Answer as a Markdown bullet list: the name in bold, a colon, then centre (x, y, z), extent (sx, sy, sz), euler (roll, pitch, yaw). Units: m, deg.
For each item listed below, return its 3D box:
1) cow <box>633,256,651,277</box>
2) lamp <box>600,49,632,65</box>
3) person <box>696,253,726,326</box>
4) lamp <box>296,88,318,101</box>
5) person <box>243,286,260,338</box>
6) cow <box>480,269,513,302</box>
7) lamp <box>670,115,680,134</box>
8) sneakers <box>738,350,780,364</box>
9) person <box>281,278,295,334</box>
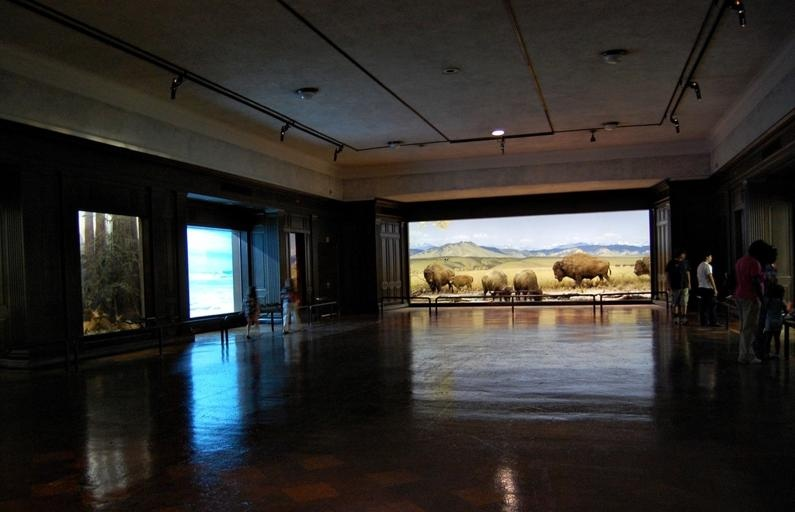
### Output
- **cow**: centre (9.190, 0.413, 18.725), extent (0.411, 0.703, 0.468), euler (3, 8, -12)
- **lamp**: centre (4.170, -3.768, 9.480), extent (0.518, 0.115, 0.661), euler (0, 2, 30)
- **person**: centre (7.822, 0.870, 12.527), extent (0.386, 1.749, 0.935), euler (0, 3, 32)
- **lamp**: centre (-1.944, -3.486, 10.708), extent (0.529, 0.111, 0.475), euler (-2, 2, -11)
- **person**: centre (-3.875, 1.469, 13.196), extent (0.357, 1.361, 1.435), euler (-3, 3, -17)
- **cow**: centre (3.988, 1.193, 20.111), extent (1.182, 1.163, 0.464), euler (-1, 3, 9)
- **lamp**: centre (7.451, -3.507, 13.330), extent (0.199, 0.467, 0.365), euler (1, 2, 5)
- **sneakers**: centre (6.203, 1.744, 8.545), extent (0.599, 0.223, 0.176), euler (-8, 2, -15)
- **person**: centre (-3.029, 1.377, 13.724), extent (0.374, 1.476, 0.873), euler (-3, 3, -13)
